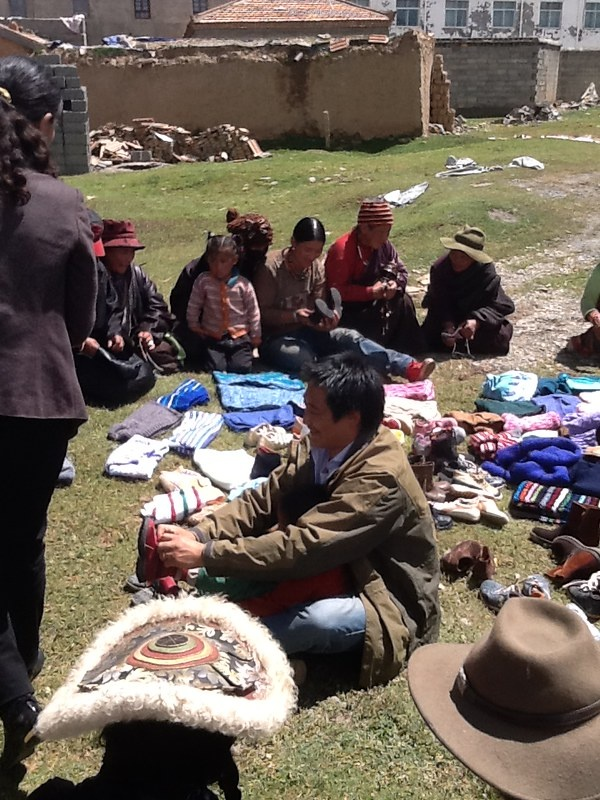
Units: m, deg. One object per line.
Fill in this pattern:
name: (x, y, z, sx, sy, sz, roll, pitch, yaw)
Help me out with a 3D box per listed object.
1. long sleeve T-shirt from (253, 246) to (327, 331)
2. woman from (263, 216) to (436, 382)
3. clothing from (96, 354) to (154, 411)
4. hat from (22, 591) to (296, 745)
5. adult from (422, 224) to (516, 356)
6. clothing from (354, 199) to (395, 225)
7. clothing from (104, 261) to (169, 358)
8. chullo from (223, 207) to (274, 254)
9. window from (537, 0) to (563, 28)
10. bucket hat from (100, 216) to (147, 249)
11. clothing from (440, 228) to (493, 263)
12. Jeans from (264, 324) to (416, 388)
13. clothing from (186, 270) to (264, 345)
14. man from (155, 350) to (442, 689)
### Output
long sleeve T-shirt: (-0.094, -0.946, 6.345, 0.729, 0.692, 0.400, -7, 27, -22)
woman: (0.363, -0.741, 6.083, 0.889, 1.273, 1.829, -22, 35, -34)
clothing: (-1.327, -0.136, 5.501, 0.448, 0.391, 0.305, -21, 39, -23)
hat: (-0.267, 0.573, 1.532, 0.461, 0.166, 0.372, 4, 24, -7)
adult: (1.592, -1.021, 6.999, 0.972, 1.172, 0.847, 18, 38, 38)
clothing: (0.628, -1.620, 6.245, 0.276, 0.176, 0.247, 4, 31, 7)
clothing: (-1.327, -0.743, 6.067, 0.588, 0.664, 0.287, -15, 2, -31)
chullo: (-0.514, -1.544, 6.563, 0.332, 0.264, 0.479, -38, 56, -16)
window: (14.506, -22.417, 42.421, 1.710, 1.764, 0.125, 1, 11, -1)
bucket hat: (-1.390, -1.275, 5.674, 0.282, 0.221, 0.263, -2, 14, -11)
clothing: (1.641, -1.414, 6.859, 0.445, 0.216, 0.424, 24, 10, -37)
Jeans: (0.282, -0.463, 6.202, 1.314, 0.287, 0.622, -11, -2, 44)
clothing: (-0.650, -0.781, 6.283, 0.696, 0.612, 0.334, 1, 22, -7)
man: (0.025, 0.508, 3.128, 1.202, 1.220, 0.997, -8, 11, -34)
